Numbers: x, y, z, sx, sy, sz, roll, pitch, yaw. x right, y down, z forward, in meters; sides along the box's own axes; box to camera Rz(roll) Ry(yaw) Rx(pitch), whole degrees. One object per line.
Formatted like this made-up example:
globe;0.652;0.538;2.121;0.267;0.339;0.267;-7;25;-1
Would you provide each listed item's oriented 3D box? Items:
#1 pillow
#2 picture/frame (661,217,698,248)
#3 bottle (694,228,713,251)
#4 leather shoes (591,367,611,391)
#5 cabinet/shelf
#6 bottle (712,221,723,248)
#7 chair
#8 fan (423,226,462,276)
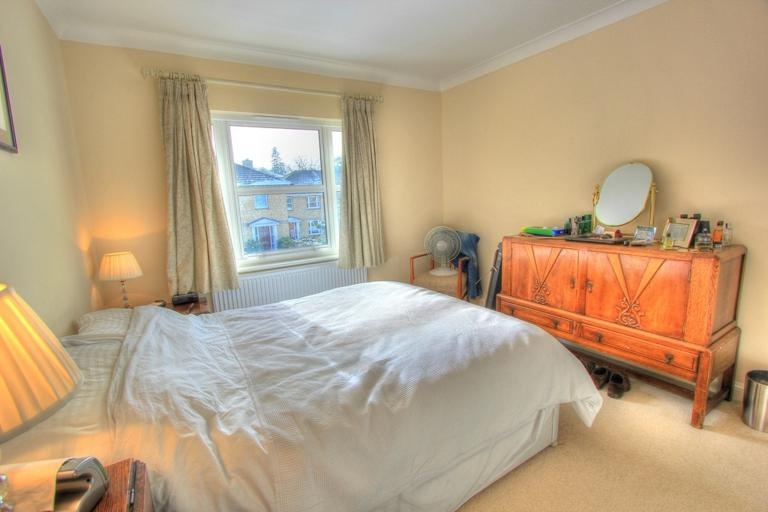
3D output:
pillow;-1.875;0.704;3.041;0.498;0.270;0.764;-7;47;-29
picture/frame;2.360;-0.182;3.761;0.115;0.216;0.213;17;6;-12
bottle;2.454;-0.114;3.669;0.142;0.161;0.143;1;4;11
leather shoes;1.922;1.065;4.193;0.152;0.090;0.290;-4;37;41
cabinet/shelf;1.990;0.435;4.350;0.828;1.298;1.937;-16;18;-38
bottle;2.640;-0.178;3.739;0.071;0.195;0.181;6;12;36
chair;0.688;0.177;5.592;0.775;0.977;0.752;-7;15;-18
fan;0.746;-0.070;5.774;0.577;0.800;0.515;0;5;15
